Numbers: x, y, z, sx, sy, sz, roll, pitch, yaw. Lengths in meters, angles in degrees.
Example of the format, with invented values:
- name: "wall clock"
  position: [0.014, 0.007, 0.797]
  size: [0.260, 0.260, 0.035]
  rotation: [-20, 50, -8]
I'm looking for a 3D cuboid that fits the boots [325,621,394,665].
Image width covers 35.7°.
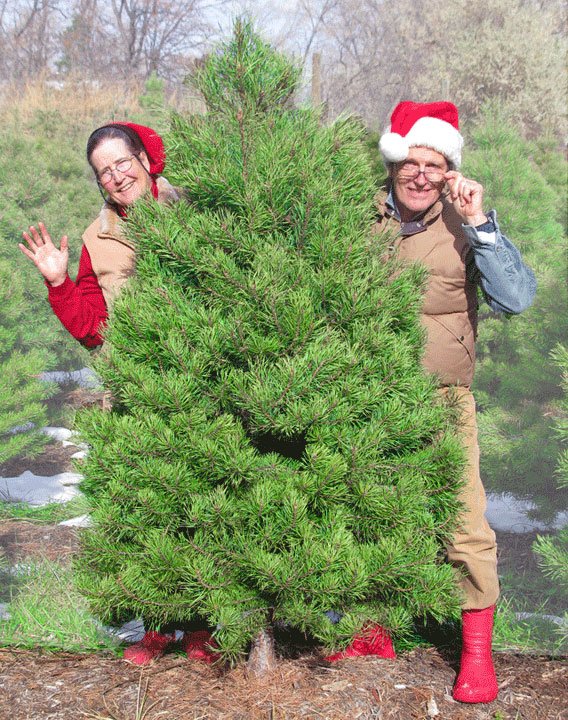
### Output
- name: "boots"
  position: [0.360, 1.225, 3.743]
  size: [0.315, 0.103, 0.243]
  rotation: [-19, -11, -16]

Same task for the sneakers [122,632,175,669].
- name: "sneakers"
  position: [-0.619, 1.269, 3.865]
  size: [0.114, 0.053, 0.179]
  rotation: [12, 14, 28]

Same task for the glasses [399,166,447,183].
- name: "glasses"
  position: [0.554, -0.774, 3.617]
  size: [0.151, 0.032, 0.088]
  rotation: [7, -34, 1]

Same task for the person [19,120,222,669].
- name: "person"
  position: [-0.711, 0.159, 3.744]
  size: [0.528, 2.317, 0.733]
  rotation: [-9, 8, -40]

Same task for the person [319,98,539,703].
- name: "person"
  position: [0.688, 0.166, 3.672]
  size: [0.657, 2.540, 0.576]
  rotation: [-10, 9, -42]

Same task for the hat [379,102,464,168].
- name: "hat"
  position: [0.547, -0.970, 3.675]
  size: [0.370, 0.235, 0.268]
  rotation: [-22, 34, -22]
